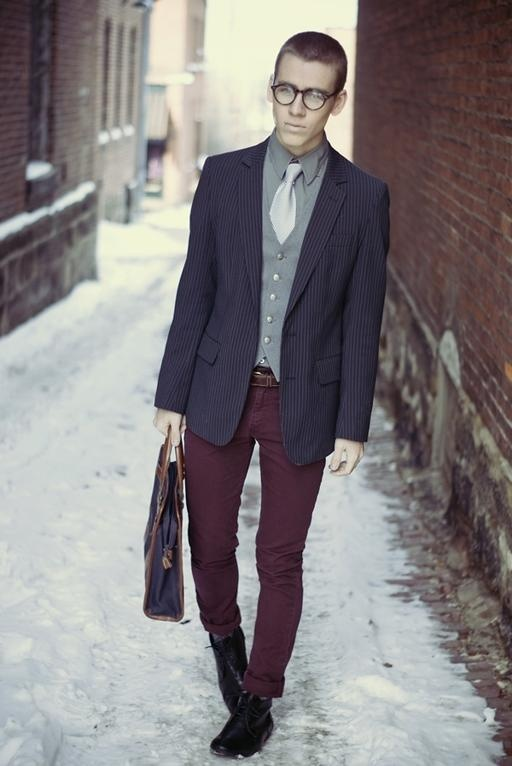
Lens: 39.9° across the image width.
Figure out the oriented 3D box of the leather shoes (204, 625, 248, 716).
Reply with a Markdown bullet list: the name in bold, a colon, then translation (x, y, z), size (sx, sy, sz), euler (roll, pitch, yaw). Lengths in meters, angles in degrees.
- **leather shoes**: translation (-0.081, 0.789, 1.991), size (0.078, 0.257, 0.100), euler (-5, -9, 2)

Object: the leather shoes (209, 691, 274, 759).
- **leather shoes**: translation (-0.018, 0.866, 1.822), size (0.088, 0.099, 0.217), euler (26, 14, 17)

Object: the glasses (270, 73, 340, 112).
- **glasses**: translation (0.103, -0.595, 1.486), size (0.135, 0.055, 0.070), euler (7, 9, 1)

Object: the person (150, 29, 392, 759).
- **person**: translation (0.011, 0.175, 1.775), size (0.469, 1.556, 0.356), euler (14, 12, 40)

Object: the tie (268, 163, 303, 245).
- **tie**: translation (0.064, -0.397, 1.552), size (0.061, 0.181, 0.049), euler (6, 9, 1)
